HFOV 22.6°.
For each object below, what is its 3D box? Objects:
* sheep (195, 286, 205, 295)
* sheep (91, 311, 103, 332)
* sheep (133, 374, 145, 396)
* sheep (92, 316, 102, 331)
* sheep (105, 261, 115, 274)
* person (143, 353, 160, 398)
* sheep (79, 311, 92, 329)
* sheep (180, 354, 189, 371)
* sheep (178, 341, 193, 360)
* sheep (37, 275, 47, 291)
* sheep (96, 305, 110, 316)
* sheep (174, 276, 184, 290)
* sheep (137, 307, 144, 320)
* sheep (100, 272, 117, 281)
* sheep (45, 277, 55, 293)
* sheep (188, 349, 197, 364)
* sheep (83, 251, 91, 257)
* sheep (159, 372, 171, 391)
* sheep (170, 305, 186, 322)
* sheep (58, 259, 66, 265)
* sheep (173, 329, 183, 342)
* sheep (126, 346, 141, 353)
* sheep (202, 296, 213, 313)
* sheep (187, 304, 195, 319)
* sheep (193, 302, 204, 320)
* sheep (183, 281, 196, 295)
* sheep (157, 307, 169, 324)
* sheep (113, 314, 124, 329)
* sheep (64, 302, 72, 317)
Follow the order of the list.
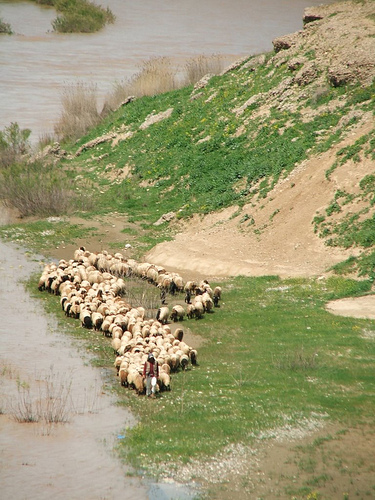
[{"bbox_3d":[0.467,1.400,32.074,0.212,0.255,0.267,4,-15,-39],"label":"sheep"},{"bbox_3d":[-2.783,2.232,29.121,0.322,0.464,0.516,-5,12,-16],"label":"sheep"},{"bbox_3d":[-1.273,3.605,25.044,0.244,0.516,0.311,-5,12,-17],"label":"sheep"},{"bbox_3d":[-2.791,2.288,28.976,0.305,0.427,0.176,4,13,26],"label":"sheep"},{"bbox_3d":[-2.873,0.666,34.982,0.147,0.380,0.333,14,-10,-43],"label":"sheep"},{"bbox_3d":[-0.963,3.334,24.926,0.411,1.159,0.487,-2,12,-3],"label":"person"},{"bbox_3d":[-3.182,2.171,29.163,0.260,0.387,0.544,-4,18,-14],"label":"sheep"},{"bbox_3d":[-0.033,3.175,26.694,0.205,0.421,0.506,3,13,19],"label":"sheep"},{"bbox_3d":[-0.006,2.870,27.115,0.199,0.316,0.585,0,16,-37],"label":"sheep"},{"bbox_3d":[-4.980,1.152,32.275,0.254,0.518,0.380,5,41,-1],"label":"sheep"},{"bbox_3d":[-2.623,1.959,29.401,0.427,0.273,0.672,-3,12,-8],"label":"sheep"},{"bbox_3d":[-0.263,1.191,33.174,0.197,0.483,0.584,3,13,22],"label":"sheep"},{"bbox_3d":[-1.479,2.045,29.728,0.262,0.354,0.194,-8,-2,2],"label":"sheep"},{"bbox_3d":[-2.789,0.946,33.072,0.470,0.178,0.247,5,-1,-38],"label":"sheep"},{"bbox_3d":[-4.674,1.213,32.094,0.222,0.528,0.461,-10,14,-35],"label":"sheep"},{"bbox_3d":[0.218,3.075,26.967,0.330,0.411,0.208,-10,15,-36],"label":"sheep"},{"bbox_3d":[-3.900,0.179,36.334,0.237,0.188,0.329,0,-1,-2],"label":"sheep"},{"bbox_3d":[-0.607,3.579,25.323,0.288,0.452,0.322,-2,12,-2],"label":"sheep"},{"bbox_3d":[-0.295,2.065,30.170,0.455,0.509,0.423,-4,12,-9],"label":"sheep"},{"bbox_3d":[-4.623,0.439,34.855,0.190,0.267,0.261,2,-5,-35],"label":"sheep"},{"bbox_3d":[-0.270,2.597,28.224,0.278,0.383,0.723,-2,12,1],"label":"sheep"},{"bbox_3d":[-1.474,2.835,26.528,0.400,0.138,0.283,8,15,40],"label":"sheep"},{"bbox_3d":[0.738,1.775,31.093,0.271,0.563,0.651,3,13,23],"label":"sheep"},{"bbox_3d":[0.114,2.013,30.437,0.233,0.472,0.390,-2,12,0],"label":"sheep"},{"bbox_3d":[0.365,1.977,30.408,0.268,0.537,0.382,0,12,7],"label":"sheep"},{"bbox_3d":[0.122,1.379,32.647,0.320,0.519,0.557,5,14,29],"label":"sheep"},{"bbox_3d":[-0.738,2.098,29.813,0.288,0.526,0.662,5,14,31],"label":"sheep"},{"bbox_3d":[-2.071,2.197,28.440,0.196,0.251,0.683,-2,17,-5],"label":"sheep"},{"bbox_3d":[-3.775,1.950,29.890,0.207,0.409,0.368,-5,12,-13],"label":"sheep"}]
